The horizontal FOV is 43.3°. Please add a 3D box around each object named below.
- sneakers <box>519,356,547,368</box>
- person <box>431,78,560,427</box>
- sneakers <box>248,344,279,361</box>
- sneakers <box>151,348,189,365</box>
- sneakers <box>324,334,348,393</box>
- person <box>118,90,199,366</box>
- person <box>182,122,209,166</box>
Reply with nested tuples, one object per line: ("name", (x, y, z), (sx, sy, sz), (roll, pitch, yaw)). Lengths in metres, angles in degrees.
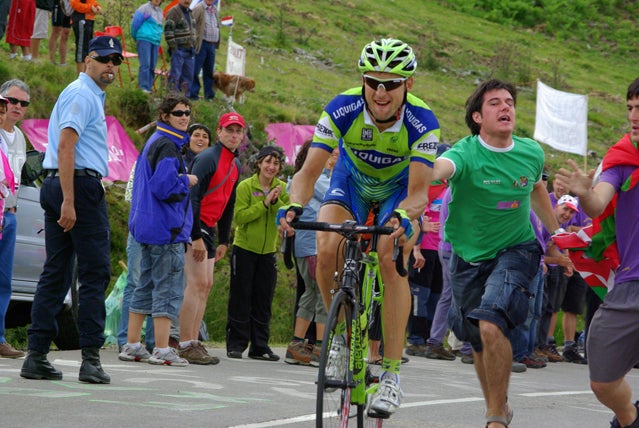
("sneakers", (3.711, 2.546, 13.943), (0.540, 0.241, 0.197), (2, 5, -13))
("person", (1.983, 0.343, 9.528), (1.102, 4.124, 1.111), (5, 1, 29))
("sneakers", (-0.905, 2.209, 12.884), (0.557, 0.245, 0.197), (1, -2, 13))
("sneakers", (-2.153, 2.028, 11.508), (0.590, 0.282, 0.204), (4, -4, -11))
("sneakers", (0.186, 1.503, 8.360), (0.189, 0.238, 0.591), (-1, 21, 5))
("person", (-2.211, 0.204, 11.430), (0.967, 3.681, 0.629), (5, 0, -1))
("person", (-1.978, -1.090, 12.971), (0.415, 0.766, 0.447), (4, -5, 14))
